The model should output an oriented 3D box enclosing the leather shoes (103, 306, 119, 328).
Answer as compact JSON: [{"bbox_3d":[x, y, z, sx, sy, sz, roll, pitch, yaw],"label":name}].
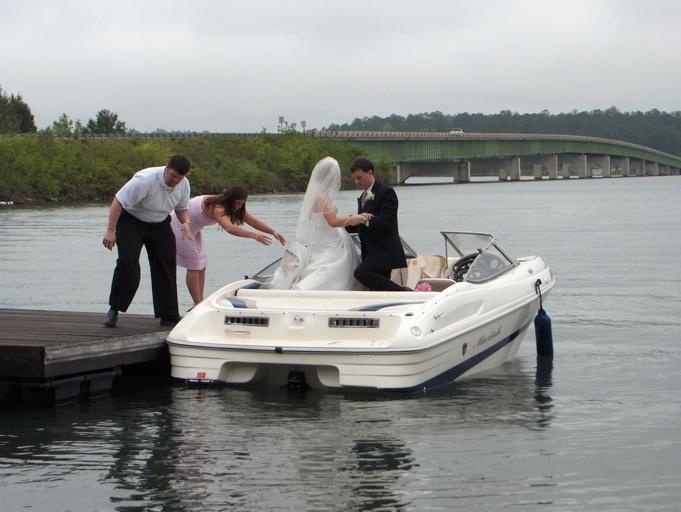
[{"bbox_3d":[-2.762,0.770,14.674,0.132,0.190,0.319,4,6,-11],"label":"leather shoes"}]

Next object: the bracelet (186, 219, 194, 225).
[{"bbox_3d":[-1.920,-0.426,15.470,0.080,0.073,0.088,4,24,-1],"label":"bracelet"}]

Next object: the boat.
[{"bbox_3d":[0.393,0.637,14.615,4.233,1.787,2.385,-1,4,-36],"label":"boat"}]
